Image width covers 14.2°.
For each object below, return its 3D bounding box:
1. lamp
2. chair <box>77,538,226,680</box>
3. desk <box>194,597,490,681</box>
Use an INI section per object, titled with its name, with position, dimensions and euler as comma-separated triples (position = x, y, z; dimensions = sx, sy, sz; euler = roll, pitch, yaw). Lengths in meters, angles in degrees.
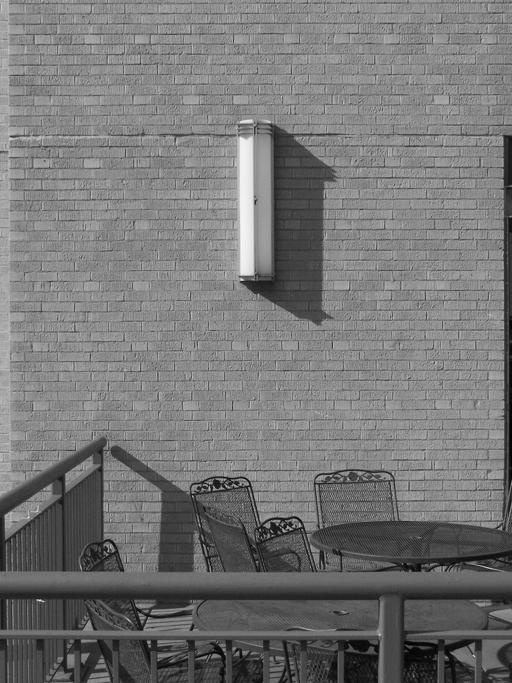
[lamp]
position = 0.013, -0.857, 12.746
dimensions = 0.236, 1.011, 0.251
euler = 0, 8, 1
[chair]
position = -0.525, 1.409, 10.393
dimensions = 0.746, 0.722, 1.523
euler = 0, -2, -1
[desk]
position = 0.435, 1.484, 10.538
dimensions = 1.507, 0.297, 0.606
euler = 0, -2, 3
